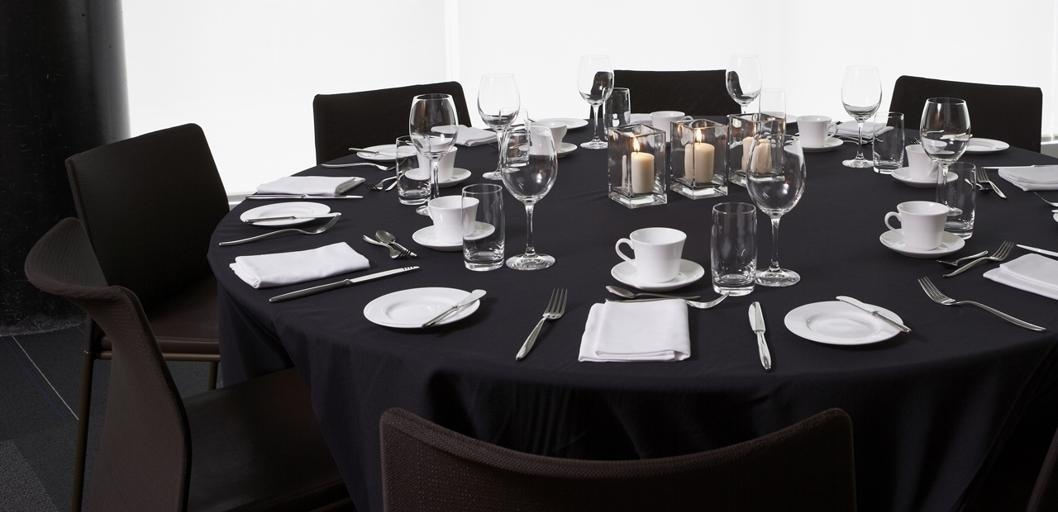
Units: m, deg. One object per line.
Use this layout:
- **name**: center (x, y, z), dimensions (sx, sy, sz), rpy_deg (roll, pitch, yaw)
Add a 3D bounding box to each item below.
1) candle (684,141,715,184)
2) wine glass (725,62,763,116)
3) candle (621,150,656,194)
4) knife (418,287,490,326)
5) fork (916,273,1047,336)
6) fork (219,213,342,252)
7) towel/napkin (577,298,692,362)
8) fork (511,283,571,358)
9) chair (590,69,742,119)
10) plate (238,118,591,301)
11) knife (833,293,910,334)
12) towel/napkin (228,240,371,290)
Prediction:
- **candle**: center (0.662, -0.399, 2.702), dimensions (0.164, 0.165, 0.154), rpy_deg (-3, 22, -1)
- **wine glass**: center (1.119, -0.881, 3.330), dimensions (0.149, 0.300, 0.233), rpy_deg (7, 24, 27)
- **candle**: center (0.408, -0.352, 2.640), dimensions (0.173, 0.174, 0.161), rpy_deg (-2, 21, 0)
- **knife**: center (-0.230, 0.165, 2.041), dimensions (0.078, 0.013, 0.259), rpy_deg (16, 28, 32)
- **fork**: center (1.425, 0.159, 2.022), dimensions (0.301, 0.041, 0.048), rpy_deg (30, 53, 27)
- **fork**: center (-0.943, -0.086, 2.458), dimensions (0.495, 0.080, 0.065), rpy_deg (-8, 29, -21)
- **towel/napkin**: center (0.315, 0.232, 1.978), dimensions (0.236, 0.035, 0.236), rpy_deg (1, 33, 10)
- **fork**: center (0.061, 0.191, 2.099), dimensions (0.073, 0.071, 0.394), rpy_deg (-4, 41, 40)
- **chair**: center (0.882, -0.968, 4.024), dimensions (0.696, 0.439, 0.513), rpy_deg (4, 9, 24)
- **plate**: center (-0.328, -0.218, 2.377), dimensions (1.421, 0.558, 0.483), rpy_deg (-9, 25, -28)
- **knife**: center (1.061, 0.167, 2.019), dimensions (0.070, 0.021, 0.281), rpy_deg (-17, 31, -14)
- **towel/napkin**: center (-0.792, 0.032, 2.250), dimensions (0.296, 0.044, 0.215), rpy_deg (-9, 24, -27)
